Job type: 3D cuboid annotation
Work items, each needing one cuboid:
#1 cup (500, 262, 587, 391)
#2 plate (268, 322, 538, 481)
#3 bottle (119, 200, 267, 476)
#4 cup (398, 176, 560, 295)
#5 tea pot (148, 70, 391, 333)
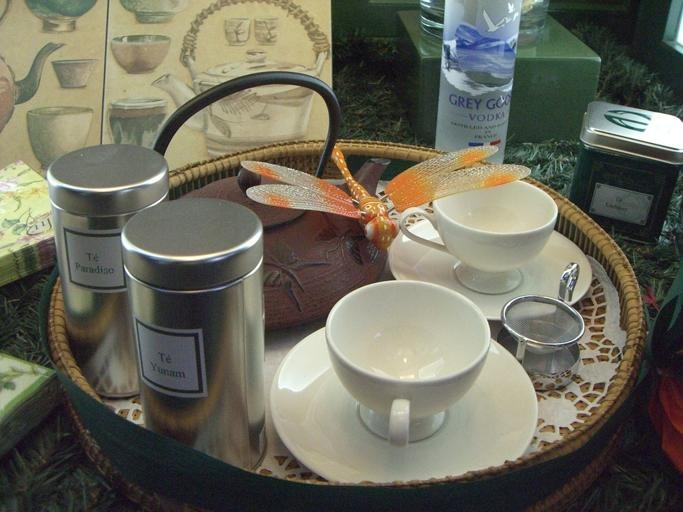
[{"bbox_3d":[0.184,0.059,0.498,0.094,0.071,0.053,-32,17,-28],"label":"cup"},{"bbox_3d":[0.044,0.104,0.440,0.195,0.035,0.128,-4,32,-4],"label":"plate"},{"bbox_3d":[-0.095,0.050,0.398,0.082,0.172,0.089,3,33,-2],"label":"bottle"},{"bbox_3d":[0.131,-0.013,0.568,0.140,0.085,0.112,-8,31,-12],"label":"cup"},{"bbox_3d":[-0.023,-0.092,0.614,0.252,0.238,0.189,-28,40,-24],"label":"tea pot"}]
